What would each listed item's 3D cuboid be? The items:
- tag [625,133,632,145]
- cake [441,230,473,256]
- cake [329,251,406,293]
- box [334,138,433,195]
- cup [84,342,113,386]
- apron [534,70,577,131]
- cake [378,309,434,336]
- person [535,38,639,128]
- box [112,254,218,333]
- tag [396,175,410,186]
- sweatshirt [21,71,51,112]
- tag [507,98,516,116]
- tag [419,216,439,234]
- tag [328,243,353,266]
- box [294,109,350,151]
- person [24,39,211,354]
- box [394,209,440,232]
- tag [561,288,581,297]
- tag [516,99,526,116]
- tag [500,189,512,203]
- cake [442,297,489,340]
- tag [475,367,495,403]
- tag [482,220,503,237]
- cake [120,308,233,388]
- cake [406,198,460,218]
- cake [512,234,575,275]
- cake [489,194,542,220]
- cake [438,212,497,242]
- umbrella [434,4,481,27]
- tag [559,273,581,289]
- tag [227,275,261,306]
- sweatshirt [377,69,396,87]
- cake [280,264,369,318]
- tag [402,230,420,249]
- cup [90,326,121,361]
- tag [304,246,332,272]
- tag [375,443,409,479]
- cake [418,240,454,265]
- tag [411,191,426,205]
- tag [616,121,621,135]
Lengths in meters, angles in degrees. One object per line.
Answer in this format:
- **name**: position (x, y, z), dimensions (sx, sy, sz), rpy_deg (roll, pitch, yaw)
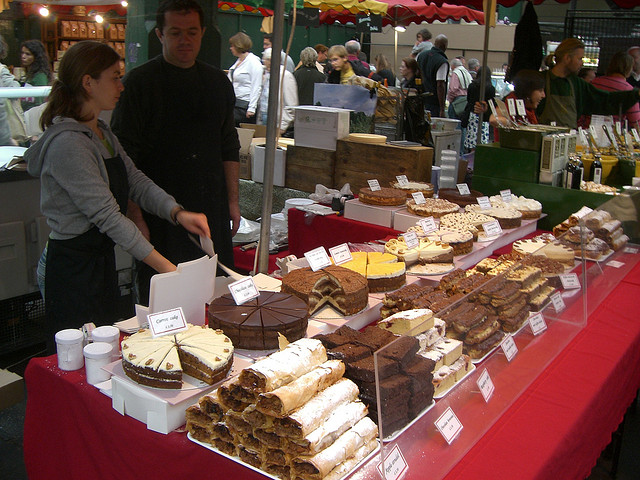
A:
- **tag**: position (3.128, -1.023, 4.783), dimensions (0.062, 0.107, 0.117), rpy_deg (8, 14, 29)
- **cake**: position (0.912, 0.010, 3.147), dimensions (0.174, 0.087, 0.173), rpy_deg (3, 16, 29)
- **cake**: position (0.319, 0.168, 2.681), dimensions (0.263, 0.066, 0.274), rpy_deg (-2, 16, -7)
- **box**: position (0.631, -0.727, 4.695), dimensions (0.628, 0.575, 0.220), rpy_deg (11, 22, 30)
- **cup**: position (-0.867, 0.489, 1.853), dimensions (0.101, 0.147, 0.094), rpy_deg (1, 13, 0)
- **apron**: position (2.661, -1.578, 5.266), dimensions (0.395, 0.626, 0.240), rpy_deg (11, 16, 36)
- **cake**: position (0.392, 0.353, 2.038), dimensions (0.136, 0.045, 0.128), rpy_deg (-12, 7, -36)
- **person**: position (3.013, -1.772, 5.475), dimensions (1.275, 0.930, 0.571), rpy_deg (-8, 16, -36)
- **box**: position (-0.654, 0.233, 2.084), dimensions (0.303, 0.336, 0.359), rpy_deg (12, 18, 27)
- **tag**: position (0.769, -0.552, 4.409), dimensions (0.145, 0.142, 0.015), rpy_deg (-2, -13, -36)
- **sweatshirt**: position (-2.628, -1.374, 4.340), dimensions (0.219, 0.403, 0.530), rpy_deg (-6, 14, -28)
- **tag**: position (1.853, -1.281, 4.551), dimensions (0.080, 0.163, 0.217), rpy_deg (5, 13, 19)
- **tag**: position (0.759, -0.101, 3.293), dimensions (0.116, 0.110, 0.028), rpy_deg (-17, -15, -28)
- **tag**: position (0.118, 0.085, 2.692), dimensions (0.126, 0.111, 0.034), rpy_deg (-19, -5, -32)
- **box**: position (0.065, -1.269, 5.297), dimensions (0.673, 0.446, 0.387), rpy_deg (18, 30, 37)
- **person**: position (-1.123, 0.088, 2.721), dimensions (0.888, 2.163, 0.816), rpy_deg (-7, 34, -35)
- **box**: position (0.691, -0.152, 3.778), dimensions (0.265, 0.118, 0.176), rpy_deg (15, 27, 34)
- **tag**: position (1.372, 0.294, 2.587), dimensions (0.063, 0.016, 0.058), rpy_deg (-8, 1, -15)
- **tag**: position (1.952, -1.299, 4.594), dimensions (0.088, 0.156, 0.234), rpy_deg (6, 13, 21)
- **tag**: position (1.611, -0.383, 4.087), dimensions (0.096, 0.097, 0.025), rpy_deg (-5, -12, -21)
- **cake**: position (0.646, 0.358, 2.096), dimensions (0.140, 0.065, 0.248), rpy_deg (-9, 9, 39)
- **tag**: position (0.659, 0.590, 1.891), dimensions (0.006, 0.088, 0.125), rpy_deg (-21, -5, 30)
- **tag**: position (1.280, -0.083, 3.523), dimensions (0.133, 0.122, 0.030), rpy_deg (-19, -8, -27)
- **cake**: position (-0.531, 0.430, 1.756), dimensions (0.363, 0.114, 0.330), rpy_deg (17, 15, 25)
- **cake**: position (0.912, -0.255, 3.803), dimensions (0.411, 0.116, 0.270), rpy_deg (3, 13, 11)
- **cake**: position (1.286, 0.087, 2.792), dimensions (0.316, 0.090, 0.312), rpy_deg (-9, 25, -14)
- **cake**: position (1.714, -0.286, 4.080), dimensions (0.303, 0.100, 0.299), rpy_deg (-3, 20, -11)
- **cake**: position (1.096, -0.139, 3.512), dimensions (0.281, 0.084, 0.278), rpy_deg (-15, 30, -31)
- **umbrella**: position (3.088, -5.132, 10.486), dimensions (0.952, 0.468, 1.093), rpy_deg (5, 13, 17)
- **tag**: position (1.382, 0.229, 2.602), dimensions (0.099, 0.091, 0.023), rpy_deg (2, -13, -22)
- **tag**: position (-0.341, 0.231, 2.132), dimensions (0.144, 0.104, 0.033), rpy_deg (-24, 1, -43)
- **sweatshirt**: position (1.387, -3.376, 9.824), dimensions (0.362, 0.358, 0.552), rpy_deg (2, 13, 6)
- **cake**: position (0.052, 0.242, 2.352), dimensions (0.280, 0.105, 0.296), rpy_deg (-18, 26, -35)
- **tag**: position (0.580, 0.001, 3.004), dimensions (0.095, 0.095, 0.026), rpy_deg (-20, -8, -26)
- **cup**: position (-0.868, 0.410, 1.937), dimensions (0.126, 0.133, 0.125), rpy_deg (3, 18, -1)
- **tag**: position (-0.013, 0.104, 2.532), dimensions (0.126, 0.126, 0.032), rpy_deg (-23, -7, -33)
- **tag**: position (0.224, 0.701, 1.481), dimensions (0.006, 0.083, 0.122), rpy_deg (-13, 22, 36)
- **cake**: position (0.750, 0.085, 2.997), dimensions (0.149, 0.124, 0.250), rpy_deg (11, 16, 37)
- **tag**: position (0.813, -0.342, 3.888), dimensions (0.113, 0.118, 0.012), rpy_deg (-25, -1, -30)
- **tag**: position (3.043, -1.135, 4.810), dimensions (0.047, 0.113, 0.117), rpy_deg (8, 15, 30)
